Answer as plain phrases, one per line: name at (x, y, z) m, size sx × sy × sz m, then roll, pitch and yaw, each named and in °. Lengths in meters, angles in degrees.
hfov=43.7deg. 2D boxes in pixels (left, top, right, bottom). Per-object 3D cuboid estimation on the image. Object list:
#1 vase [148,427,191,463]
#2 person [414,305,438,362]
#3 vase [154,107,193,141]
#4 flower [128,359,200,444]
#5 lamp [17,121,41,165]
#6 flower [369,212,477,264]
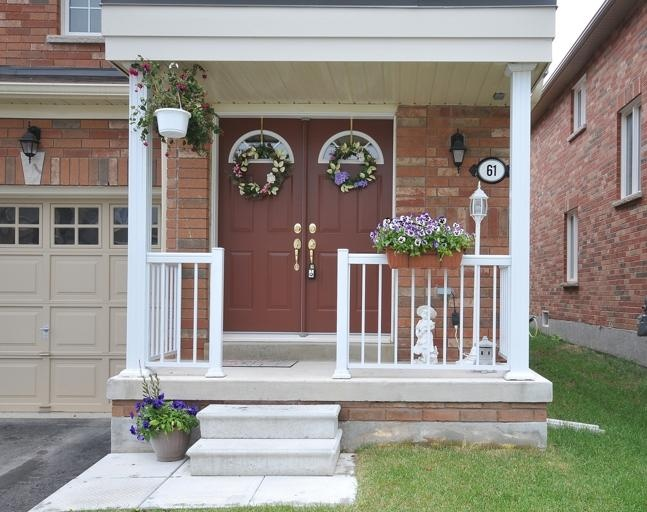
vase at (-1.451, 1.801, 7.643) m, size 0.311 × 0.255 × 0.330 m, roll 0°, pitch -10°, yaw 2°
person at (1.041, 0.802, 8.288) m, size 0.231 × 0.720 × 0.962 m, roll -1°, pitch 5°, yaw 7°
vase at (-1.431, -1.258, 7.781) m, size 0.266 × 0.188 × 0.276 m, roll -4°, pitch -7°, yaw 36°
flower at (-1.498, 1.390, 7.603) m, size 0.603 × 0.486 × 0.650 m, roll 0°, pitch -6°, yaw 4°
lamp at (-3.424, -1.312, 9.441) m, size 0.242 × 0.437 × 0.203 m, roll -2°, pitch 4°, yaw -12°
flower at (0.946, -0.177, 7.825) m, size 0.958 × 0.449 × 0.239 m, roll -1°, pitch 4°, yaw 3°
